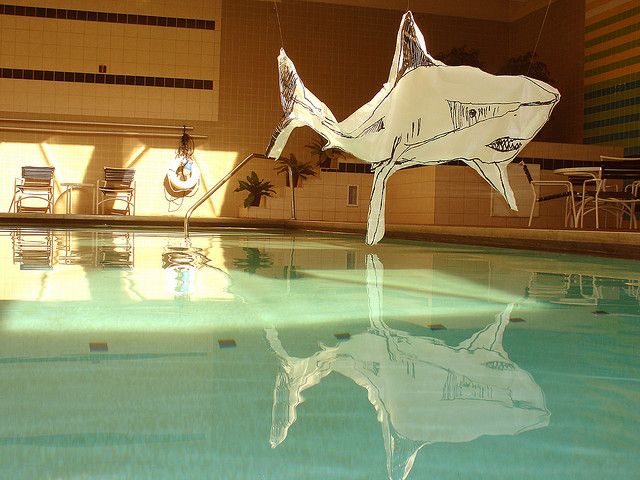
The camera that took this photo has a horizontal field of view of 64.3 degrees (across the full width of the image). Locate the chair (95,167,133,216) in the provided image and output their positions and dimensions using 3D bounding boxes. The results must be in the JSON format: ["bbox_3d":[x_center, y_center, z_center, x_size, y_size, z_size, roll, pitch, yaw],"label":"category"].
[{"bbox_3d":[-3.330,-0.846,8.506,0.552,0.880,0.656,9,22,-5],"label":"chair"}]

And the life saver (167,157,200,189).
[{"bbox_3d":[-2.323,-1.141,8.745,0.383,0.552,0.471,3,3,33],"label":"life saver"}]

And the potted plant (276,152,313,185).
[{"bbox_3d":[-0.343,-1.125,8.246,0.566,0.432,0.601,2,1,14],"label":"potted plant"}]

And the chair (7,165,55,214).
[{"bbox_3d":[-4.542,-0.759,8.212,0.517,0.935,0.845,3,12,-32],"label":"chair"}]

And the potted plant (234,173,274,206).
[{"bbox_3d":[-1.068,-0.800,8.458,0.617,0.468,0.647,1,5,-10],"label":"potted plant"}]
